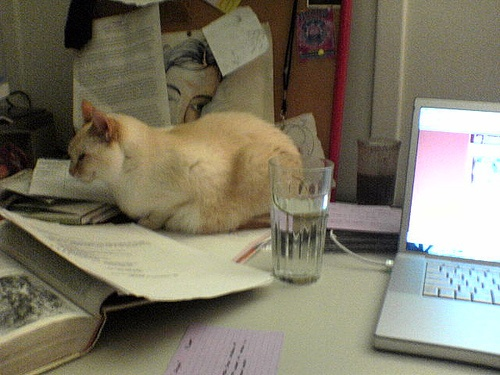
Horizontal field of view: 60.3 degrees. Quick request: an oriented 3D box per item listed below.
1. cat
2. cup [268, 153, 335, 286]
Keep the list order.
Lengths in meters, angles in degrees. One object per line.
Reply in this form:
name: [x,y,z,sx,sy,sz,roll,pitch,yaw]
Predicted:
cat: [-0.074,-0.020,0.792,0.466,0.219,0.172,4,7,-15]
cup: [0.078,0.042,0.617,0.072,0.168,0.121,10,20,41]
